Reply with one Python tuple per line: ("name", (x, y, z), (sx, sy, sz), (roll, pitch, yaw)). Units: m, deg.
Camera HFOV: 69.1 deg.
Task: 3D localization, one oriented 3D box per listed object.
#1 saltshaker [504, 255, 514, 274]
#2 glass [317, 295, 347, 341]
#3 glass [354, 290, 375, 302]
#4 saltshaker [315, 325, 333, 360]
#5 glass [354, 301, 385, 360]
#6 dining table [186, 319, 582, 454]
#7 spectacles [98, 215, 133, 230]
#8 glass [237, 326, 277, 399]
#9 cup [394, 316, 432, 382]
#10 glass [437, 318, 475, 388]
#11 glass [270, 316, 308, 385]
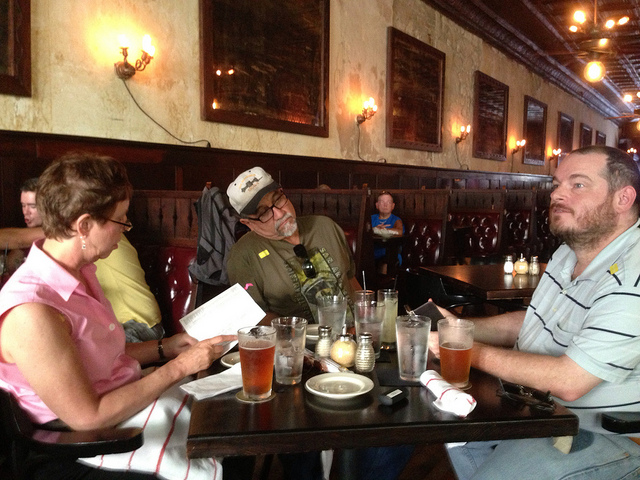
("saltshaker", (1.365, 0.172, 3.355), (0.063, 0.133, 0.157), (2, 9, 27))
("glass", (0.046, 0.301, 1.801), (0.125, 0.213, 0.129), (0, 4, -14))
("glass", (0.180, 0.214, 1.841), (0.058, 0.050, 0.064), (1, -3, -11))
("saltshaker", (0.018, 0.380, 1.690), (0.067, 0.125, 0.071), (1, -1, 4))
("glass", (0.180, 0.335, 1.707), (0.098, 0.175, 0.104), (-6, 2, 2))
("dining table", (0.157, 0.408, 1.496), (1.129, 0.294, 0.500), (-3, 8, -4))
("spectacles", (-0.741, -0.061, 1.668), (0.073, 0.023, 0.072), (24, -3, -21))
("glass", (-0.190, 0.379, 1.442), (0.117, 0.204, 0.125), (2, 6, 2))
("cup", (0.303, 0.353, 1.550), (0.124, 0.219, 0.131), (-2, 8, 0))
("glass", (0.434, 0.366, 1.502), (0.121, 0.211, 0.128), (-1, 9, 4))
("glass", (-0.105, 0.385, 1.547), (0.129, 0.216, 0.139), (-5, -14, 12))
